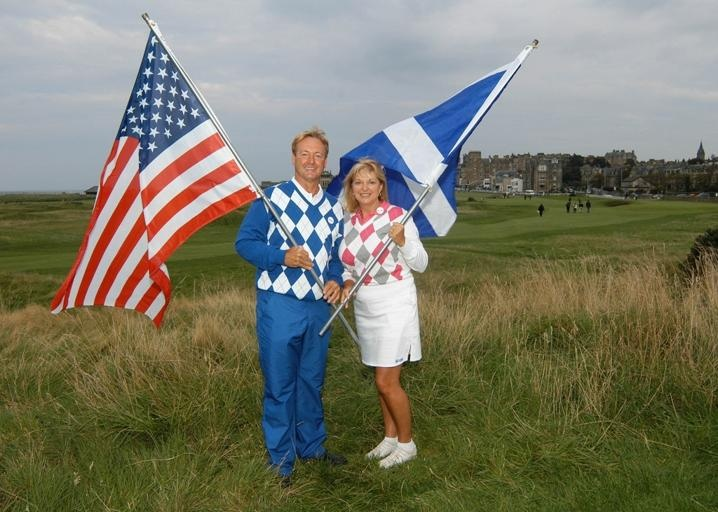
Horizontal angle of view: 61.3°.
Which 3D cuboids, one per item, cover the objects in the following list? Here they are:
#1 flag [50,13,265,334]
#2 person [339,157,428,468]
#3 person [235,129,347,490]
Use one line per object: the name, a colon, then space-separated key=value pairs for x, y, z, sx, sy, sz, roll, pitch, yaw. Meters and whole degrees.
flag: x=-2.469 y=-1.085 z=7.083 sx=2.571 sy=4.408 sz=0.294 roll=-6 pitch=41 yaw=-27
person: x=0.255 y=0.662 z=6.874 sx=0.975 sy=3.464 sz=0.667 roll=3 pitch=6 yaw=13
person: x=-0.738 y=0.503 z=6.758 sx=1.130 sy=3.848 sz=0.686 roll=0 pitch=6 yaw=-13
